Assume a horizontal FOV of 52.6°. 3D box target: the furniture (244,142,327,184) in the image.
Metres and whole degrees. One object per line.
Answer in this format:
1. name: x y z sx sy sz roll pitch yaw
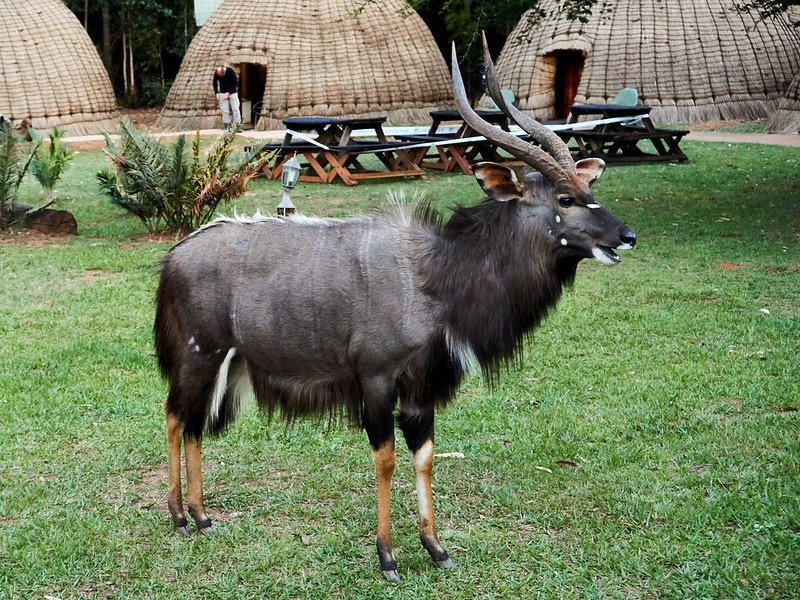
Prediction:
1. furniture: -1.921 -2.295 13.678 1.193 0.635 1.702 10 14 31

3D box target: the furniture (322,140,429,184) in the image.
1. furniture: -0.467 -2.595 15.597 1.377 0.477 1.254 6 11 43
